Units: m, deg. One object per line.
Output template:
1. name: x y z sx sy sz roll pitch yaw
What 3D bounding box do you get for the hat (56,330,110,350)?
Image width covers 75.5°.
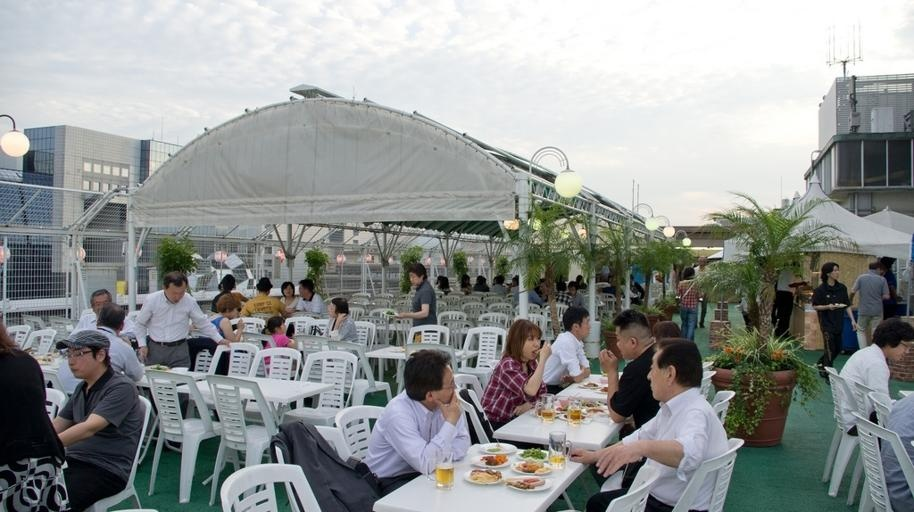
1. hat: -4.449 1.018 7.063 0.419 0.142 0.277 5 -11 -16

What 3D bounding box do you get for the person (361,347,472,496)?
1. person: -0.459 1.910 6.846 1.184 1.603 0.438 -1 -3 -9

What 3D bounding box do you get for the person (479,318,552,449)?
1. person: 0.846 1.759 8.249 1.007 1.731 0.437 -1 -3 -17
